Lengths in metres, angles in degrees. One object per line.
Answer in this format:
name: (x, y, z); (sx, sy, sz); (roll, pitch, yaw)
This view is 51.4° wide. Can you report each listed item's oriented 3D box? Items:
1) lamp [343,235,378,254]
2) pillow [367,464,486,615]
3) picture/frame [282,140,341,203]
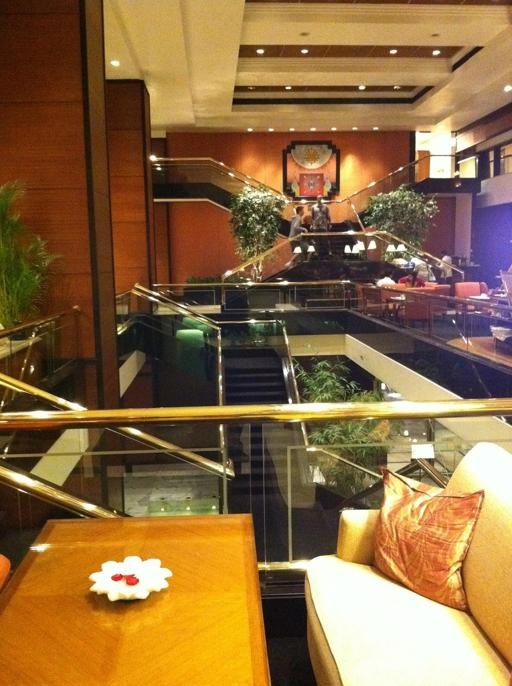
lamp: (2.351, -2.213, 12.002); (0.689, 0.237, 0.377); (-10, 17, -8)
pillow: (0.515, 0.605, 1.603); (0.140, 0.325, 0.347); (29, -16, -29)
picture/frame: (1.603, -5.084, 15.627); (1.734, 1.663, 0.459); (-3, 4, 2)
